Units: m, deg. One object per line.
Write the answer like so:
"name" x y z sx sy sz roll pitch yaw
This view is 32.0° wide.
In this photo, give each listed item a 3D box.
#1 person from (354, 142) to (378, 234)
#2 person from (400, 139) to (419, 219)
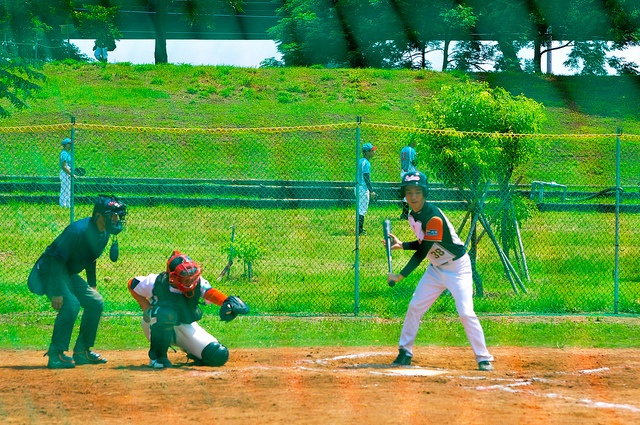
"person" 1.886 -1.041 46.509 0.871 3.660 1.118 1 10 -6
"person" 3.743 -1.397 46.347 0.944 3.626 1.175 8 -11 -24
